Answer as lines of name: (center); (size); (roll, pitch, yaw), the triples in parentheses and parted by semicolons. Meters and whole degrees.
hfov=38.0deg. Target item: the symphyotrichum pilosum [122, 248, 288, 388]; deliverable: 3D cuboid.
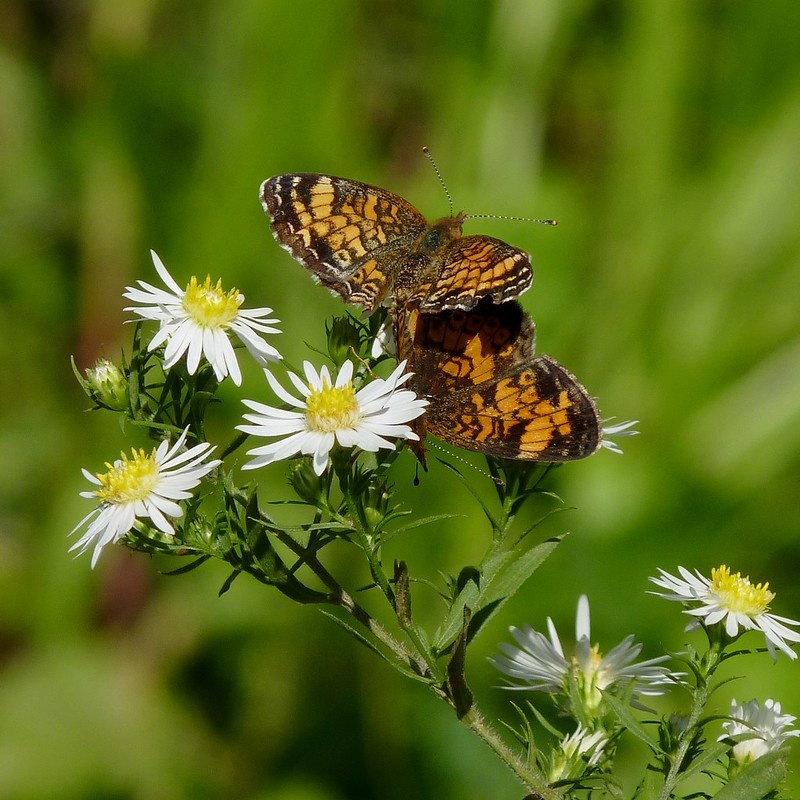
symphyotrichum pilosum: (-0.506, -0.193, 2.935); (0.366, 0.168, 0.378); (22, 26, -25)

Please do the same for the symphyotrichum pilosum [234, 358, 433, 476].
symphyotrichum pilosum: (-0.143, 0.025, 2.806); (0.314, 0.153, 0.364); (-13, -25, 33)

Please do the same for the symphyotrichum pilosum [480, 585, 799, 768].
symphyotrichum pilosum: (0.491, 0.658, 2.934); (0.449, 0.249, 0.500); (13, 2, 11)

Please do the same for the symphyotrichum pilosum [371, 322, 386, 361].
symphyotrichum pilosum: (-0.054, -0.151, 3.052); (0.025, 0.013, 0.095); (19, 44, -6)

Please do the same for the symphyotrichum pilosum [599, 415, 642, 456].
symphyotrichum pilosum: (0.564, 0.085, 3.009); (0.056, 0.155, 0.137); (4, -4, -31)
